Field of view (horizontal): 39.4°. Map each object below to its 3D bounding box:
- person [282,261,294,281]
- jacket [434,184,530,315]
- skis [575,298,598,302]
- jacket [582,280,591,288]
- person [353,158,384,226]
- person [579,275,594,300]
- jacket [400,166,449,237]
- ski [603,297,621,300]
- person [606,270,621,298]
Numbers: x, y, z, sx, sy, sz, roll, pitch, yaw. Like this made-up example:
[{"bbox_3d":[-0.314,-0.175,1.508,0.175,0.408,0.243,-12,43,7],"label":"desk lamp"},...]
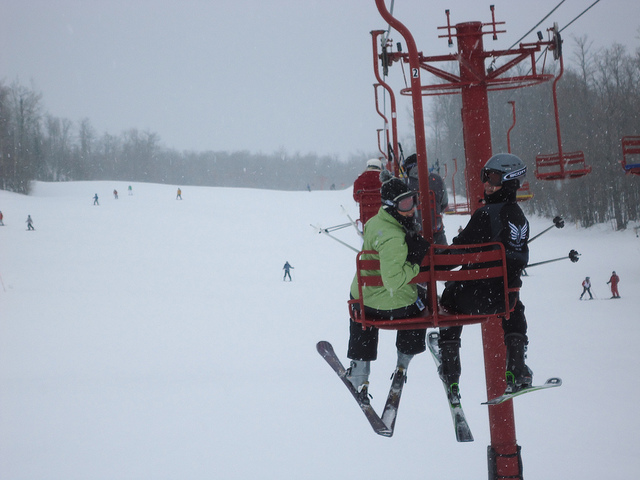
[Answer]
[{"bbox_3d":[-1.577,1.432,42.692,0.440,1.057,1.193,-2,15,-2],"label":"person"},{"bbox_3d":[4.814,0.278,25.720,2.456,3.430,1.411,-2,13,-1],"label":"jacket"},{"bbox_3d":[11.471,2.624,38.703,0.635,0.141,0.020,2,-1,10],"label":"skis"},{"bbox_3d":[11.348,1.921,38.351,0.277,0.478,0.152,0,2,-5],"label":"jacket"},{"bbox_3d":[1.753,-1.783,30.664,0.965,2.750,0.964,6,50,7],"label":"person"},{"bbox_3d":[11.555,2.049,38.805,0.597,1.190,1.348,3,15,18],"label":"person"},{"bbox_3d":[3.488,-1.346,29.280,1.404,2.253,1.108,1,18,16],"label":"jacket"},{"bbox_3d":[12.654,2.567,38.850,0.758,0.073,0.230,-2,16,2],"label":"ski"},{"bbox_3d":[12.761,1.884,38.824,0.440,1.494,1.758,3,15,18],"label":"person"}]
